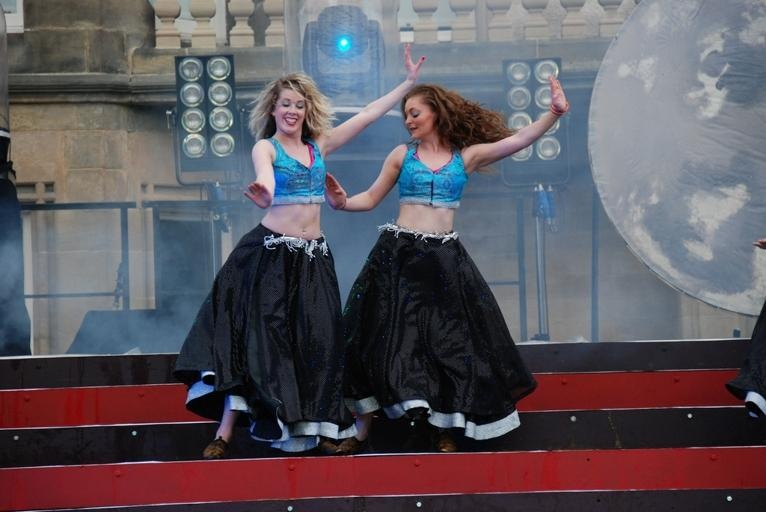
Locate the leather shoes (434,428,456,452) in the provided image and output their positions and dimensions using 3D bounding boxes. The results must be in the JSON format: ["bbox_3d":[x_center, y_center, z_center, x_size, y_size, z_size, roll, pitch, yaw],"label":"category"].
[{"bbox_3d":[0.470,1.349,12.580,0.055,0.066,0.208,25,22,-11],"label":"leather shoes"}]

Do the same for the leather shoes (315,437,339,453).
[{"bbox_3d":[-0.384,1.384,12.516,0.112,0.111,0.041,4,-33,-7],"label":"leather shoes"}]

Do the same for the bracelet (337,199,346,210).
[{"bbox_3d":[-0.296,-0.382,12.834,0.068,0.067,0.018,-4,-26,45],"label":"bracelet"}]

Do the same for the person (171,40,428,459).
[{"bbox_3d":[-0.770,0.057,12.634,1.388,2.779,0.629,0,4,-1],"label":"person"}]

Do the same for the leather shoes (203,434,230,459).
[{"bbox_3d":[-1.206,1.390,12.483,0.181,0.153,0.103,-1,4,-8],"label":"leather shoes"}]
